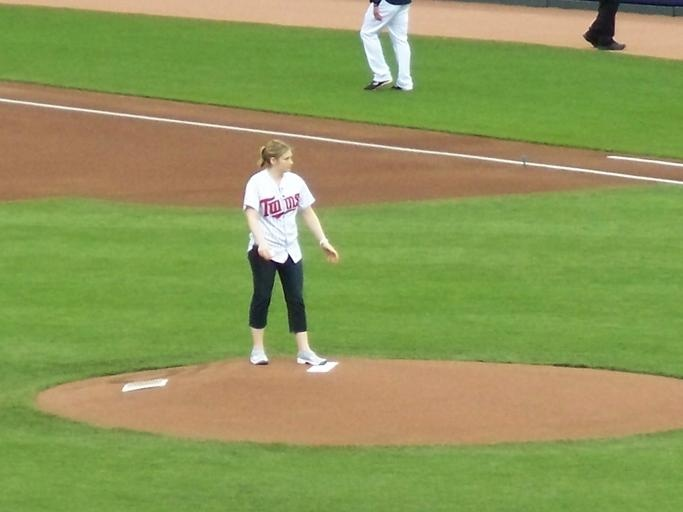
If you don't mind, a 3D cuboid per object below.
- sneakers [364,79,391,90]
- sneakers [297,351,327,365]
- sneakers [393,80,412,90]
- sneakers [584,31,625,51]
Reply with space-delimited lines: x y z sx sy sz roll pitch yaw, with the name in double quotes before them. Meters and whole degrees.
"sneakers" 0.602 -3.037 28.415 0.519 0.193 0.183 -9 27 0
"sneakers" -0.374 1.287 19.957 0.335 0.134 0.160 2 4 5
"sneakers" 1.070 -3.026 28.328 0.375 0.151 0.122 7 38 9
"sneakers" 4.961 -4.122 30.741 0.632 0.263 0.209 20 48 14
